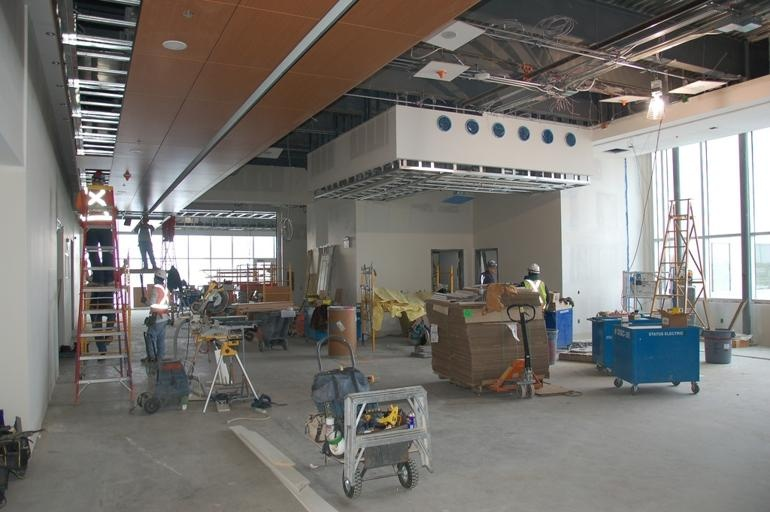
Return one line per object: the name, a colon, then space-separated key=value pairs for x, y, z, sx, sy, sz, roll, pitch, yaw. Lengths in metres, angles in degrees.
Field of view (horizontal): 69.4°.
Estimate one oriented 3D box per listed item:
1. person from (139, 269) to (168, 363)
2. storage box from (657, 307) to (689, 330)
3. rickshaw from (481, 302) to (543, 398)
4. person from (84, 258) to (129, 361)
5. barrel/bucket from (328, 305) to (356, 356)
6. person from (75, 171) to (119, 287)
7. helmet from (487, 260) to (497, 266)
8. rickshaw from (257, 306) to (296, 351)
person: x=-4.659 y=1.265 z=11.375 sx=0.597 sy=2.558 sz=0.753 roll=3 pitch=2 yaw=-28
storage box: x=5.341 y=1.127 z=10.061 sx=0.409 sy=0.308 sz=0.444 roll=0 pitch=0 yaw=-18
rickshaw: x=2.319 y=1.686 z=10.248 sx=1.246 sy=1.502 sz=1.738 roll=0 pitch=-2 yaw=-23
person: x=-5.643 y=1.066 z=11.190 sx=0.641 sy=2.366 sz=0.840 roll=4 pitch=1 yaw=-25
barrel/bucket: x=-1.042 y=1.895 z=13.917 sx=0.724 sy=1.236 sz=0.782 roll=-1 pitch=-8 yaw=0
person: x=-5.783 y=-0.521 z=11.170 sx=0.704 sy=2.383 sz=0.755 roll=-2 pitch=5 yaw=-29
helmet: x=2.882 y=0.199 z=14.858 sx=0.157 sy=0.136 sz=0.150 roll=6 pitch=-14 yaw=40
rickshaw: x=-2.877 y=1.748 z=14.913 sx=0.958 sy=1.312 sz=1.312 roll=-1 pitch=0 yaw=-20
